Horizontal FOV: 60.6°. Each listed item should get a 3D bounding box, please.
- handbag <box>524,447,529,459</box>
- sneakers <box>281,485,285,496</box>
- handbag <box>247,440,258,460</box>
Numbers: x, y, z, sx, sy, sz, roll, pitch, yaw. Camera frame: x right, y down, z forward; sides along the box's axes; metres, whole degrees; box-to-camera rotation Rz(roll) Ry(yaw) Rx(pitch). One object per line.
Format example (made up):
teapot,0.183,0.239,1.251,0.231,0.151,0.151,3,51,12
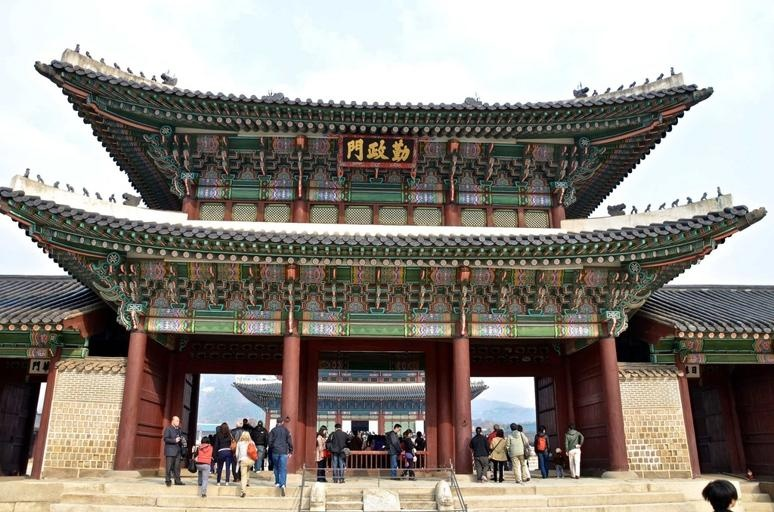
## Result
handbag,4.500,6.346,21.429,0.160,0.301,0.266,6,-36,6
sneakers,-3.070,6.924,19.517,0.103,0.271,0.109,0,-6,1
handbag,-4.038,5.817,19.730,0.446,0.485,0.179,8,-20,-35
